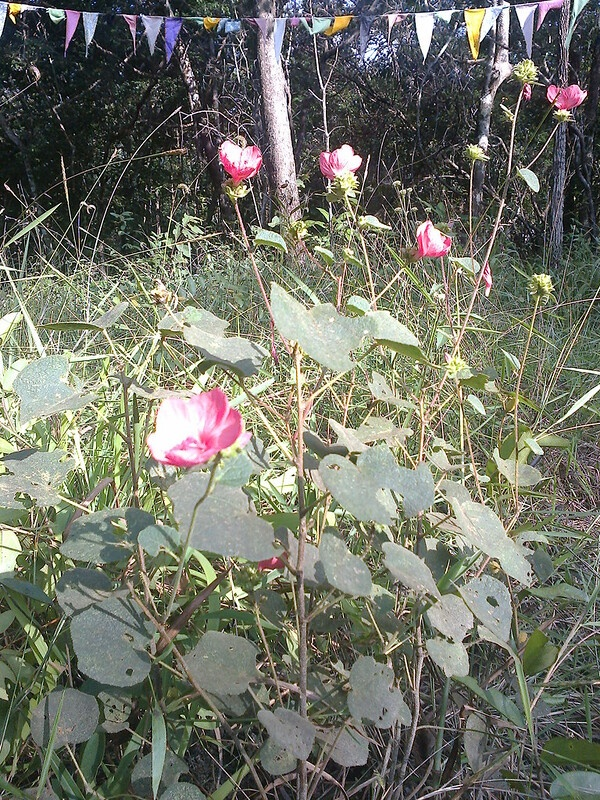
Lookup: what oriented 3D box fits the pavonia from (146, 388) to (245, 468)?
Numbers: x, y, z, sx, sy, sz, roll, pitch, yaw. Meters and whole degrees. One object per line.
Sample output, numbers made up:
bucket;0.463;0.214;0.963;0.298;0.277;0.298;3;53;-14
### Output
pavonia;-0.070;0.019;0.416;0.070;0.041;0.060;4;38;14
